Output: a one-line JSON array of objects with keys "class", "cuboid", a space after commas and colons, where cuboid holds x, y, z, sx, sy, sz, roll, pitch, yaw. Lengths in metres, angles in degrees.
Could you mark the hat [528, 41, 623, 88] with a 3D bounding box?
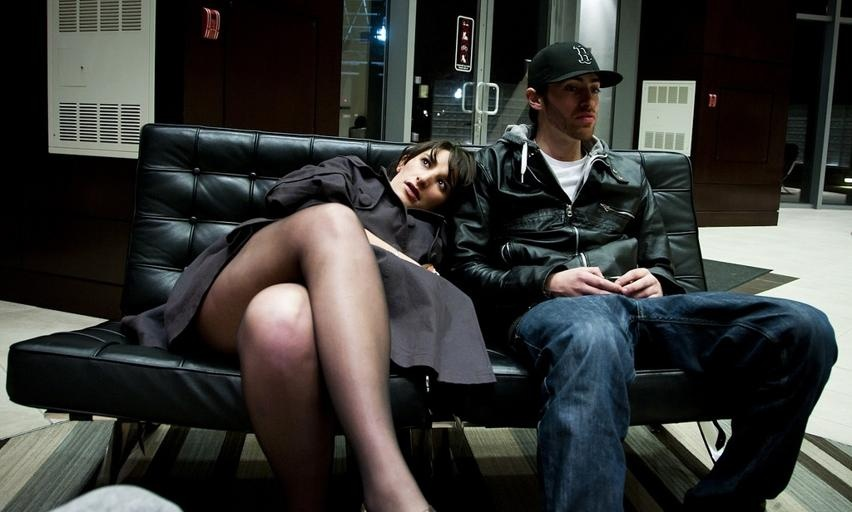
[{"class": "hat", "cuboid": [0.627, -0.796, 2.576, 0.317, 0.164, 0.222, -3, 8, 40]}]
